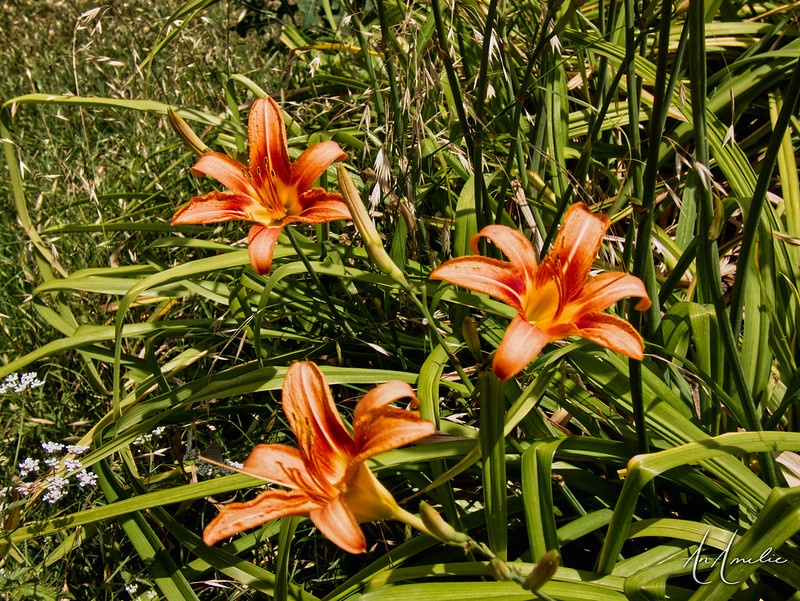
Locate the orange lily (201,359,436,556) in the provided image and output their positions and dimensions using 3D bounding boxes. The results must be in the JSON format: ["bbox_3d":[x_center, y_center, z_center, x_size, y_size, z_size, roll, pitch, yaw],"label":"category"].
[{"bbox_3d":[-0.189,0.423,1.745,0.477,0.257,0.549,-26,28,-12],"label":"orange lily"}]

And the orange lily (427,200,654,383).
[{"bbox_3d":[0.393,0.048,1.835,0.575,0.267,0.550,3,36,-18],"label":"orange lily"}]

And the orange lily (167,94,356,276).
[{"bbox_3d":[-0.398,-0.405,2.377,0.476,0.349,0.699,10,-11,-12],"label":"orange lily"}]
